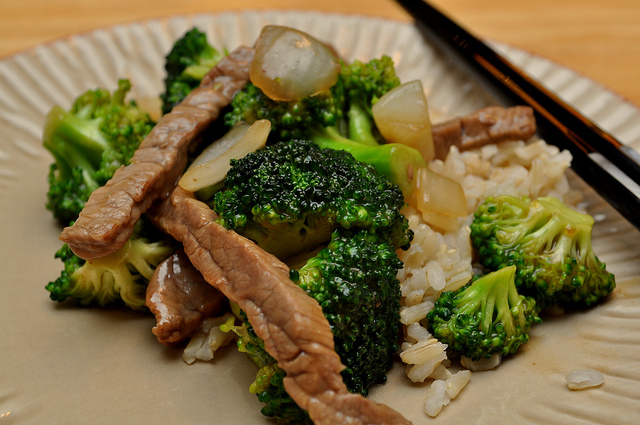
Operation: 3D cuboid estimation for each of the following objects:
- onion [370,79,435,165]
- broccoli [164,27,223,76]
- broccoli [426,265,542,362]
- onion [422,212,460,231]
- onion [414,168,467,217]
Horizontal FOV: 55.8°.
[{"bbox_3d":[0.409,-0.412,2.840,0.247,0.424,0.103,-5,27,13],"label":"onion"},{"bbox_3d":[-0.705,-0.866,3.399,0.226,0.164,0.270,-31,9,9],"label":"broccoli"},{"bbox_3d":[0.703,0.435,2.601,0.361,0.175,0.427,24,70,12],"label":"broccoli"},{"bbox_3d":[0.574,0.041,2.854,0.156,0.050,0.082,20,55,-8],"label":"onion"},{"bbox_3d":[0.568,-0.078,2.832,0.249,0.243,0.122,-4,34,4],"label":"onion"}]
